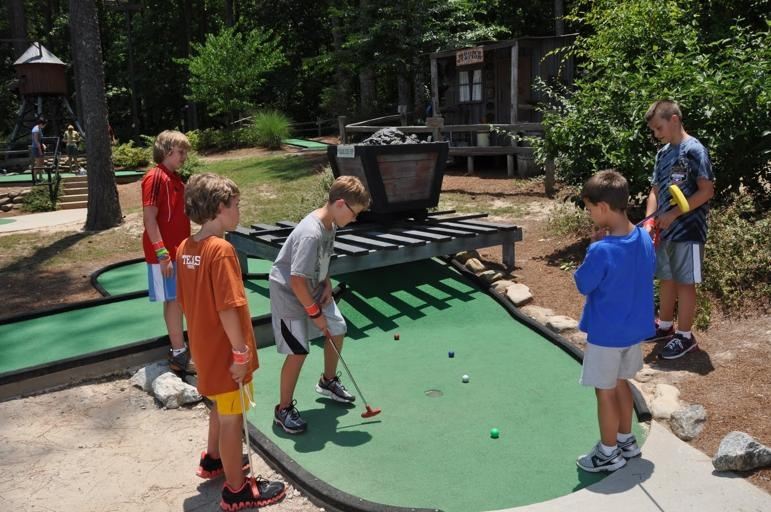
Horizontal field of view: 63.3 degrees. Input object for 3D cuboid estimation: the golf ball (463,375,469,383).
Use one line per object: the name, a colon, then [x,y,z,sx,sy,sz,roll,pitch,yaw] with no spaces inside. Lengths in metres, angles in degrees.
golf ball: [0.838,1.277,6.514,0.060,0.061,0.057,-4,9,1]

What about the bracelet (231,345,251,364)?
bracelet: [-1.160,0.786,5.011,0.110,0.131,0.143,0,14,2]

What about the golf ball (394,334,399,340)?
golf ball: [0.135,0.955,7.397,0.050,0.051,0.050,8,48,-9]

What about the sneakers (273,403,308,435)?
sneakers: [-0.923,1.519,5.995,0.188,0.262,0.489,-5,10,-32]

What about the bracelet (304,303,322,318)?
bracelet: [-0.650,0.493,5.643,0.104,0.079,0.143,-4,8,-16]

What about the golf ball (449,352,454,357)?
golf ball: [0.736,1.090,6.945,0.047,0.037,0.048,-4,-2,0]

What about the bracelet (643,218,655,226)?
bracelet: [2.689,-0.353,6.335,0.089,0.070,0.091,-5,2,-11]

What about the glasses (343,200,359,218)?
glasses: [-0.333,-0.439,5.782,0.038,0.133,0.128,-26,-17,12]

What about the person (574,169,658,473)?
person: [1.939,0.563,5.310,0.685,2.525,0.631,3,14,14]

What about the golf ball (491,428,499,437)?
golf ball: [1.013,1.627,5.768,0.061,0.048,0.062,-5,2,0]

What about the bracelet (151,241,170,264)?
bracelet: [-2.306,-0.037,6.404,0.163,0.221,0.093,-13,0,1]

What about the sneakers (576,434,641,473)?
sneakers: [1.882,1.719,5.443,0.587,0.279,0.234,-21,1,18]

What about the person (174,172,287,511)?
person: [-1.303,0.717,5.183,0.576,2.724,0.825,-9,16,-32]
